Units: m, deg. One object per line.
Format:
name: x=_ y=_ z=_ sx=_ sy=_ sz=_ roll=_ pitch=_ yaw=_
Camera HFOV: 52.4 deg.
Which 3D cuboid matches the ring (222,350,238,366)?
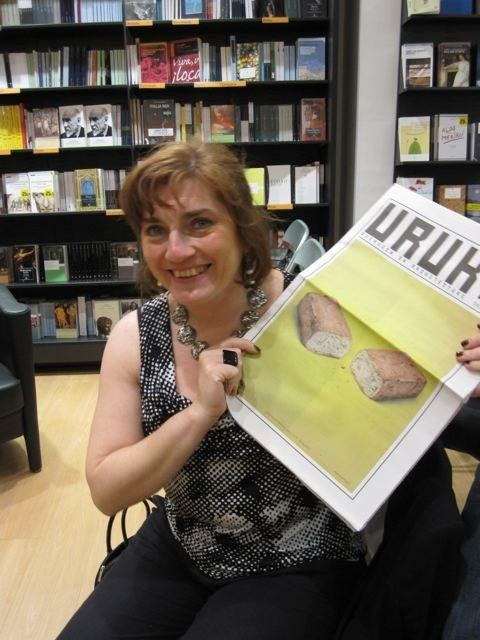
ring: x=-0.016 y=0.057 z=0.740 sx=0.022 sy=0.009 sz=0.021 roll=9 pitch=49 yaw=-10
